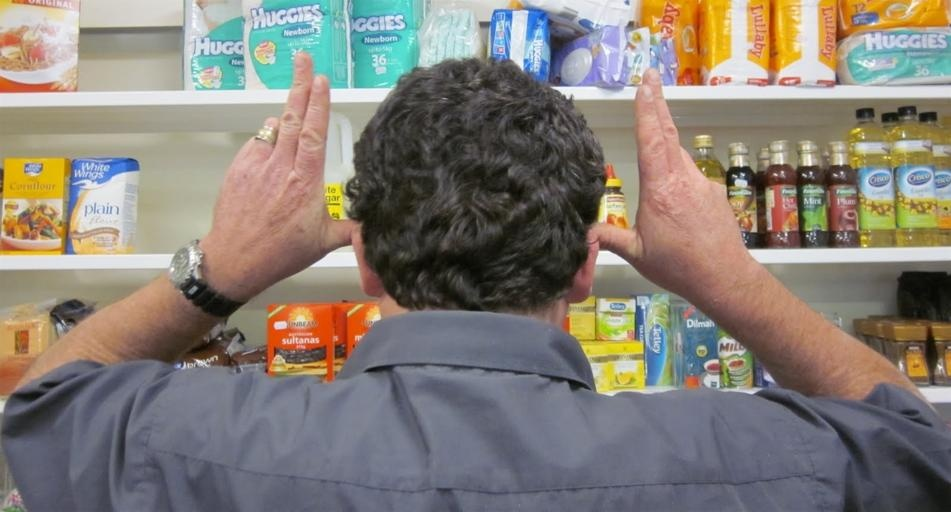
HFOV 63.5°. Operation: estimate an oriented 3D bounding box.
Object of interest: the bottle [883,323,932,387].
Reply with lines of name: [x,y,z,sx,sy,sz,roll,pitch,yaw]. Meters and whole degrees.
bottle: [1.457,0.352,2.597,0.152,0.187,0.156,-25,-22,40]
